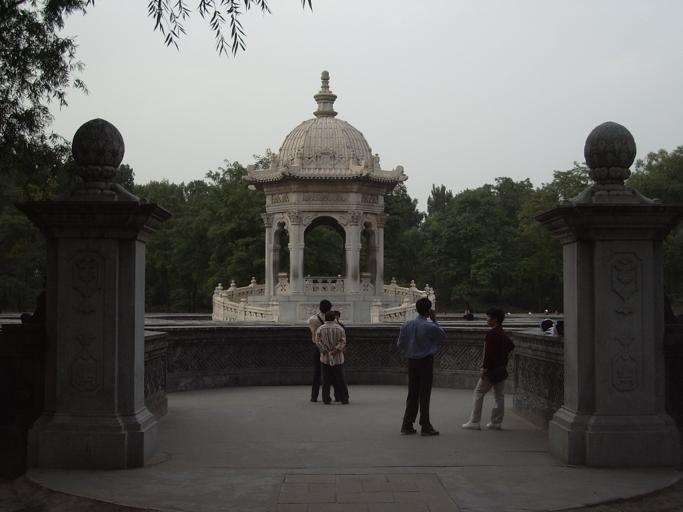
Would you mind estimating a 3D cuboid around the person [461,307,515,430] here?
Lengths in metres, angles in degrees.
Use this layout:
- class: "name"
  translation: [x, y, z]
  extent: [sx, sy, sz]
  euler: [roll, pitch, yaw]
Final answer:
- class: "person"
  translation: [2.301, 1.721, 12.101]
  extent: [0.673, 1.847, 0.753]
  euler: [0, -3, 11]

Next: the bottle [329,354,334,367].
- class: "bottle"
  translation: [-0.177, 1.897, 14.285]
  extent: [0.098, 0.200, 0.061]
  euler: [1, -3, -1]

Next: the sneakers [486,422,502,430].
- class: "sneakers"
  translation: [2.350, 2.578, 11.916]
  extent: [0.261, 0.100, 0.298]
  euler: [1, -3, 0]

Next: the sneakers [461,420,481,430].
- class: "sneakers"
  translation: [1.993, 2.570, 11.953]
  extent: [0.238, 0.111, 0.129]
  euler: [4, 0, 8]

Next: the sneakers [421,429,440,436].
- class: "sneakers"
  translation: [1.303, 2.562, 11.414]
  extent: [0.346, 0.097, 0.150]
  euler: [2, -3, -29]

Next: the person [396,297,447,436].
- class: "person"
  translation: [1.173, 1.622, 11.675]
  extent: [0.704, 1.996, 0.585]
  euler: [0, -3, 18]
